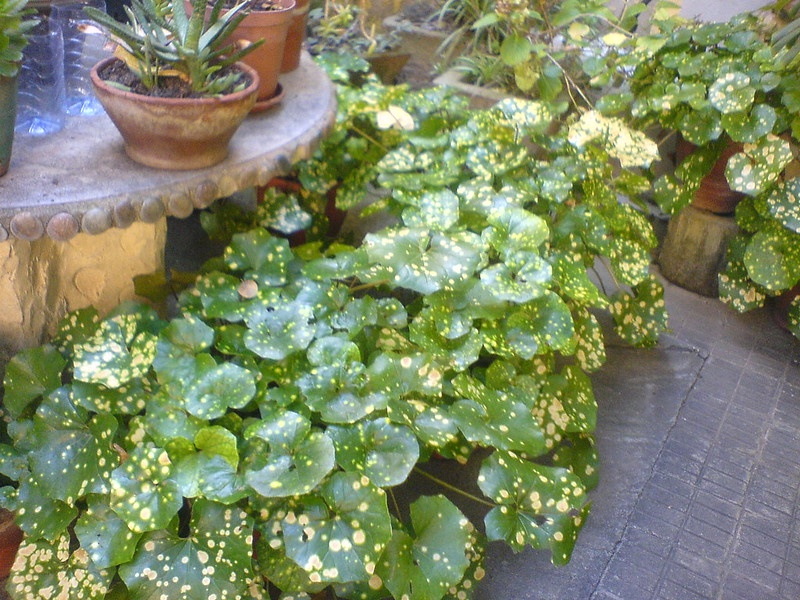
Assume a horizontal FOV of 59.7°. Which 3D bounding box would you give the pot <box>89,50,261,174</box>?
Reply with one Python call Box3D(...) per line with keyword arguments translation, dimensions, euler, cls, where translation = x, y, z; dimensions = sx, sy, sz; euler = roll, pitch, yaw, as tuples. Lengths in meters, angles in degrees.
Box3D(translation=(-0.551, -0.419, 1.711), dimensions=(0.294, 0.151, 0.317), euler=(6, 34, -4), cls="pot")
